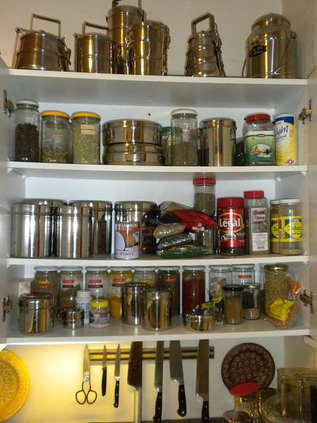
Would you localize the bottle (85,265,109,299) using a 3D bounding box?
[{"bbox_3d":[-0.217,0.251,1.517,0.077,0.143,0.086,5,20,10],"label":"bottle"}]

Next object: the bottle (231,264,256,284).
[{"bbox_3d":[0.312,0.220,1.546,0.070,0.080,0.075,-3,-5,32],"label":"bottle"}]

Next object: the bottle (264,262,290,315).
[{"bbox_3d":[0.421,0.269,1.483,0.070,0.185,0.075,-5,15,1],"label":"bottle"}]

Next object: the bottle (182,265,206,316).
[{"bbox_3d":[0.123,0.270,1.463,0.086,0.164,0.111,-3,0,4],"label":"bottle"}]

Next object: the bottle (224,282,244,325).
[{"bbox_3d":[0.263,0.322,1.482,0.070,0.134,0.078,-2,10,3],"label":"bottle"}]

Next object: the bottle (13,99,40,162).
[{"bbox_3d":[-0.425,-0.259,1.358,0.080,0.198,0.061,-3,0,-18],"label":"bottle"}]

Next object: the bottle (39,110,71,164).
[{"bbox_3d":[-0.347,-0.241,1.406,0.125,0.170,0.130,2,3,0],"label":"bottle"}]

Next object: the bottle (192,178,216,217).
[{"bbox_3d":[0.173,-0.052,1.549,0.075,0.137,0.079,-1,2,0],"label":"bottle"}]

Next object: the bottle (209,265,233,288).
[{"bbox_3d":[0.228,0.234,1.552,0.072,0.091,0.074,0,-4,0],"label":"bottle"}]

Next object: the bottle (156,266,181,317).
[{"bbox_3d":[0.037,0.285,1.481,0.080,0.179,0.053,-3,0,-4],"label":"bottle"}]

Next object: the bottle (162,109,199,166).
[{"bbox_3d":[0.093,-0.255,1.475,0.105,0.200,0.101,0,5,0],"label":"bottle"}]

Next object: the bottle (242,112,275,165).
[{"bbox_3d":[0.348,-0.248,1.452,0.107,0.179,0.120,-3,0,14],"label":"bottle"}]

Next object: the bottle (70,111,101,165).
[{"bbox_3d":[-0.236,-0.241,1.374,0.094,0.170,0.061,-3,0,-13],"label":"bottle"}]

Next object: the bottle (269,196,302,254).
[{"bbox_3d":[0.436,0.052,1.458,0.137,0.190,0.106,-3,0,39],"label":"bottle"}]

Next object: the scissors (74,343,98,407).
[{"bbox_3d":[-0.263,0.601,1.534,0.077,0.235,0.017,2,13,-1],"label":"scissors"}]

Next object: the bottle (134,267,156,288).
[{"bbox_3d":[-0.044,0.229,1.491,0.061,0.069,0.065,-2,-4,31],"label":"bottle"}]

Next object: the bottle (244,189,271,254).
[{"bbox_3d":[0.348,0.035,1.481,0.084,0.223,0.082,-3,0,0],"label":"bottle"}]

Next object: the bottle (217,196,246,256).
[{"bbox_3d":[0.255,0.049,1.471,0.093,0.201,0.101,-1,-2,0],"label":"bottle"}]

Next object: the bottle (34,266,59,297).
[{"bbox_3d":[-0.381,0.229,1.424,0.089,0.168,0.093,0,-6,0],"label":"bottle"}]

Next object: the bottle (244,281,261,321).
[{"bbox_3d":[0.338,0.324,1.523,0.064,0.125,0.068,-1,3,0],"label":"bottle"}]

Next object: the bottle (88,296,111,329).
[{"bbox_3d":[-0.197,0.336,1.402,0.072,0.090,0.071,2,4,0],"label":"bottle"}]

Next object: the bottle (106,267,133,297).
[{"bbox_3d":[-0.138,0.262,1.516,0.075,0.140,0.080,3,4,0],"label":"bottle"}]
